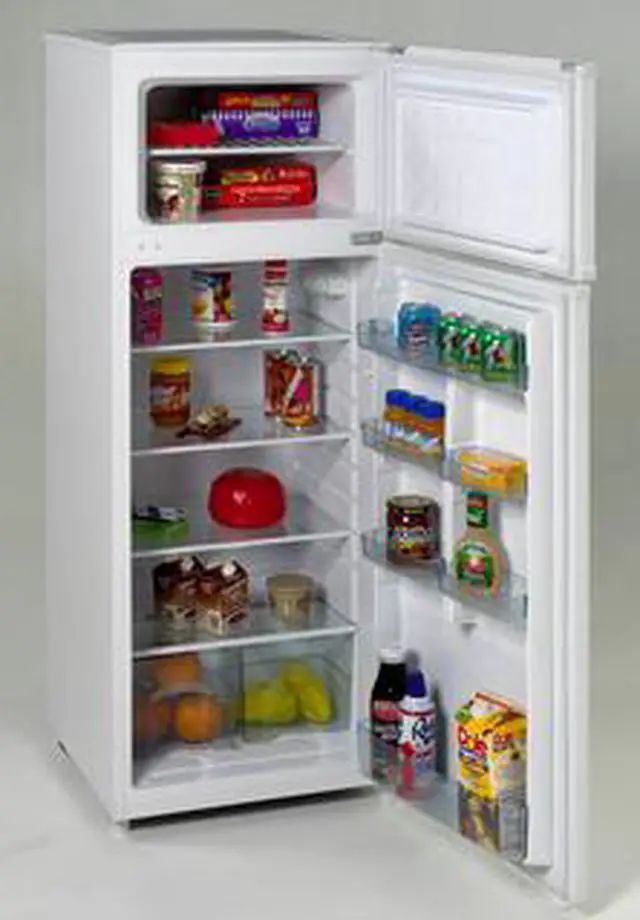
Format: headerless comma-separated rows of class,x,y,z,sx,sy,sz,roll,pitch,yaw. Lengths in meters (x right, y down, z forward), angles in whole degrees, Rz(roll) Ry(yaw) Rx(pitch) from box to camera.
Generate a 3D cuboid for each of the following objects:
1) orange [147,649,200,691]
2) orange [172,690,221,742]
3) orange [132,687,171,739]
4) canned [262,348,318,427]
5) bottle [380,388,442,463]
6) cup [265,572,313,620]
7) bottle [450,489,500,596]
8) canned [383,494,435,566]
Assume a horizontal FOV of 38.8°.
orange,-0.326,0.467,2.036,0.098,0.091,0.089,-2,-14,-11
orange,-0.274,0.562,2.008,0.115,0.127,0.110,-2,-1,-7
orange,-0.371,0.551,1.984,0.112,0.079,0.082,4,3,-18
canned,-0.067,-0.158,2.038,0.099,0.146,0.156,-4,14,-23
bottle,0.171,-0.067,1.696,0.086,0.106,0.151,-9,22,-32
cup,-0.066,0.314,2.131,0.109,0.074,0.105,1,8,0
bottle,0.263,0.134,1.554,0.037,0.173,0.116,-2,6,-23
canned,0.162,0.134,1.783,0.119,0.122,0.114,-2,14,-3
